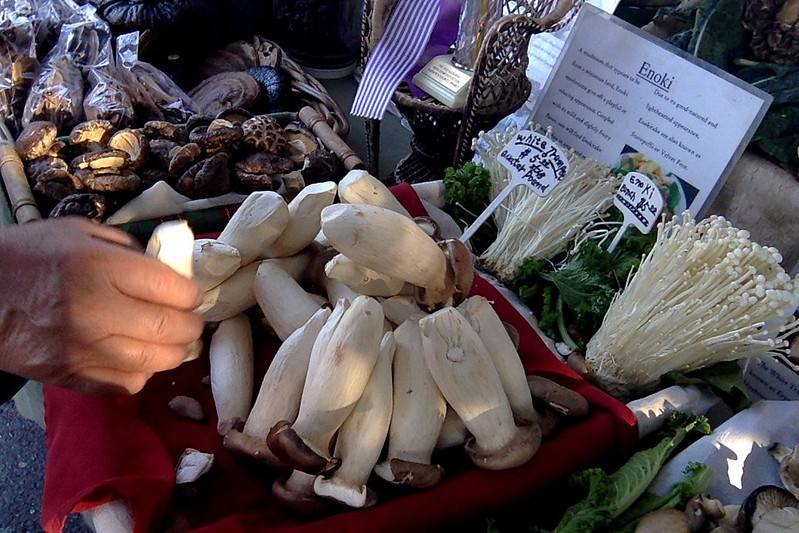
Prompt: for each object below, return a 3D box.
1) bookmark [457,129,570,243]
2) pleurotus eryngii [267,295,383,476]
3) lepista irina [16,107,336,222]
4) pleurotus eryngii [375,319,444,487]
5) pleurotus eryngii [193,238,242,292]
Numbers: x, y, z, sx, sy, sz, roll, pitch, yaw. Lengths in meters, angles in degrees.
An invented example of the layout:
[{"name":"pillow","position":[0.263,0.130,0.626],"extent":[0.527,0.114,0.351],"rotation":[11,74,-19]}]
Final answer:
[{"name":"bookmark","position":[0.336,-0.268,1.792],"extent":[0.301,0.322,0.173],"rotation":[-5,45,-27]},{"name":"pleurotus eryngii","position":[-0.168,0.277,1.354],"extent":[0.171,0.164,0.437],"rotation":[20,76,14]},{"name":"lepista irina","position":[-0.880,-0.396,2.152],"extent":[1.234,0.351,0.655],"rotation":[0,44,-23]},{"name":"pleurotus eryngii","position":[0.034,0.344,1.395],"extent":[0.144,0.156,0.399],"rotation":[8,80,-19]},{"name":"pleurotus eryngii","position":[-0.488,-0.006,1.524],"extent":[0.151,0.115,0.194],"rotation":[-4,21,-16]}]
